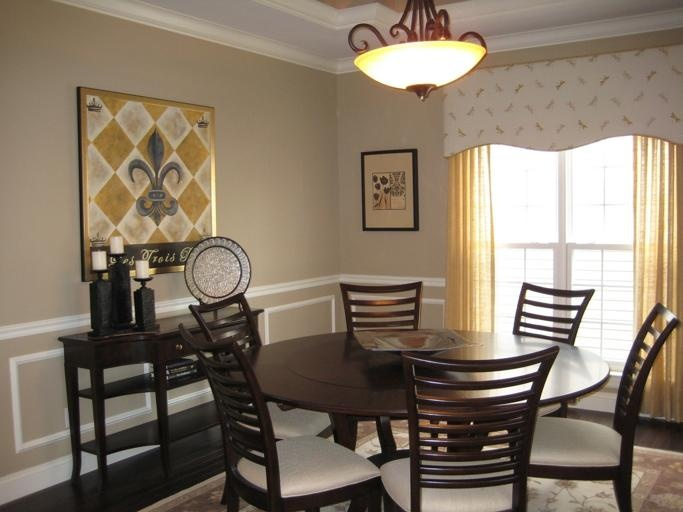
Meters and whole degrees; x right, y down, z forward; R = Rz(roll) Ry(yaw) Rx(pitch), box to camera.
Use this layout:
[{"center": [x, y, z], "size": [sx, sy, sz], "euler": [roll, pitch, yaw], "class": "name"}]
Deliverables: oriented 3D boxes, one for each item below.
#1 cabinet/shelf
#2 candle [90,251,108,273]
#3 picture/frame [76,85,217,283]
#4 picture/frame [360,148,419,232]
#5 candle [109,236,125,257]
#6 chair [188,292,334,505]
[{"center": [-1.180, 0.881, 3.478], "size": [0.434, 0.762, 1.143], "euler": [1, 3, 28], "class": "cabinet/shelf"}, {"center": [-1.573, 0.039, 3.695], "size": [0.130, 0.154, 0.133], "euler": [2, 4, 7], "class": "candle"}, {"center": [-1.434, -0.498, 3.992], "size": [0.068, 1.666, 1.476], "euler": [-1, 0, 35], "class": "picture/frame"}, {"center": [0.488, -0.651, 5.380], "size": [0.795, 1.021, 0.072], "euler": [0, 1, 26], "class": "picture/frame"}, {"center": [-1.471, -0.063, 3.682], "size": [0.083, 0.122, 0.107], "euler": [5, 10, 37], "class": "candle"}, {"center": [-0.515, 0.766, 3.763], "size": [1.135, 1.650, 0.951], "euler": [0, 3, 9], "class": "chair"}]
